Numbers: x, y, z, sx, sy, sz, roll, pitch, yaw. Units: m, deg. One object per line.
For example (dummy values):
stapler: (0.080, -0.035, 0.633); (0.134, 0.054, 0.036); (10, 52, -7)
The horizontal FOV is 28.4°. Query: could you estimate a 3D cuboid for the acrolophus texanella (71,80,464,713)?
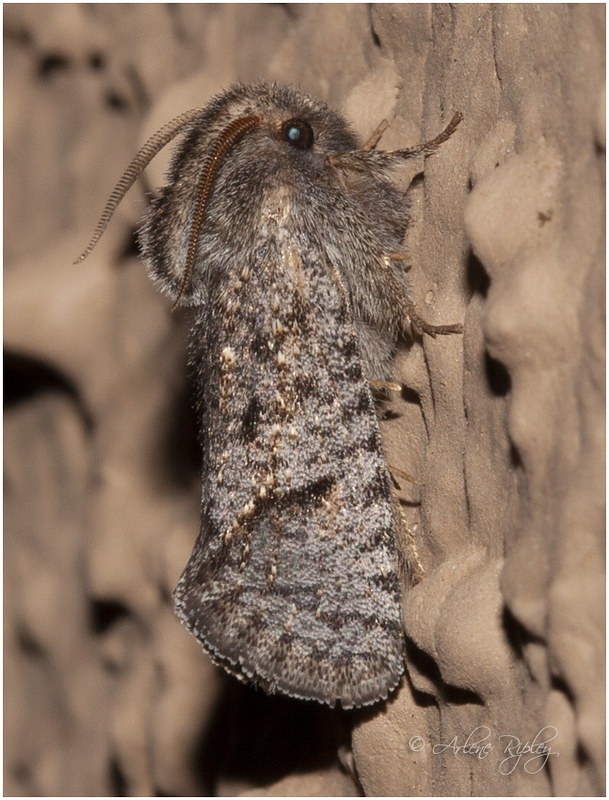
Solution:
acrolophus texanella: (-0.004, -0.012, 2.380); (0.844, 0.358, 1.188); (-3, 89, 36)
